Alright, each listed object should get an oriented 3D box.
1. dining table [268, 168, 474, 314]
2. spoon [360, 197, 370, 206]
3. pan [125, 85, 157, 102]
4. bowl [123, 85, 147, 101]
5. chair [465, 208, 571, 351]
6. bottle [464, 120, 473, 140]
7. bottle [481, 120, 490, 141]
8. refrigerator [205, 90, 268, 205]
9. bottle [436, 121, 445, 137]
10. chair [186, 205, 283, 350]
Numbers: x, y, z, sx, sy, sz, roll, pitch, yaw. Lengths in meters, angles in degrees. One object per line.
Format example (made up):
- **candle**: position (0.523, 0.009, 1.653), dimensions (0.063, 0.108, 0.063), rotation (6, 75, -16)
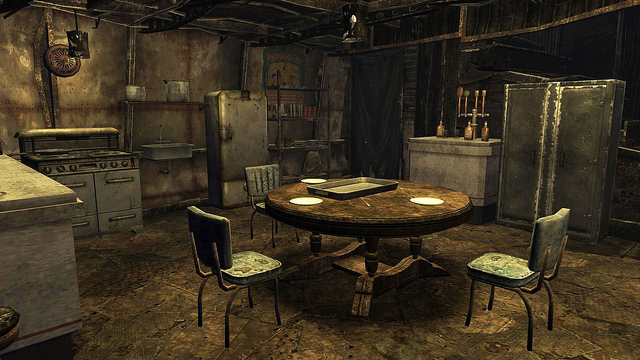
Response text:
- **dining table**: position (0.633, 0.589, 5.505), dimensions (2.283, 0.925, 2.213), rotation (4, 8, 30)
- **spoon**: position (0.566, 0.281, 5.355), dimensions (0.030, 0.025, 0.184), rotation (-8, 25, -23)
- **pan**: position (-3.407, -1.587, 7.660), dimensions (0.366, 0.315, 0.214), rotation (-6, 14, -14)
- **bowl**: position (-3.370, -1.572, 7.642), dimensions (0.359, 0.221, 0.316), rotation (-5, 9, -34)
- **chair**: position (2.380, 1.027, 5.302), dimensions (1.182, 1.639, 1.195), rotation (-6, 11, -42)
- **bottle**: position (2.751, -0.909, 7.779), dimensions (0.136, 0.282, 0.325), rotation (2, 13, 20)
- **bottle**: position (2.994, -0.893, 7.642), dimensions (0.110, 0.314, 0.398), rotation (2, 13, 20)
- **refrigerator**: position (-1.685, -0.614, 8.372), dimensions (1.272, 2.294, 0.543), rotation (-6, 15, -13)
- **bottle**: position (2.388, -1.016, 8.351), dimensions (0.157, 0.261, 0.541), rotation (1, 12, 16)
- **chair**: position (-1.030, 1.154, 5.242), dimensions (1.047, 1.335, 0.941), rotation (-2, 6, -34)
